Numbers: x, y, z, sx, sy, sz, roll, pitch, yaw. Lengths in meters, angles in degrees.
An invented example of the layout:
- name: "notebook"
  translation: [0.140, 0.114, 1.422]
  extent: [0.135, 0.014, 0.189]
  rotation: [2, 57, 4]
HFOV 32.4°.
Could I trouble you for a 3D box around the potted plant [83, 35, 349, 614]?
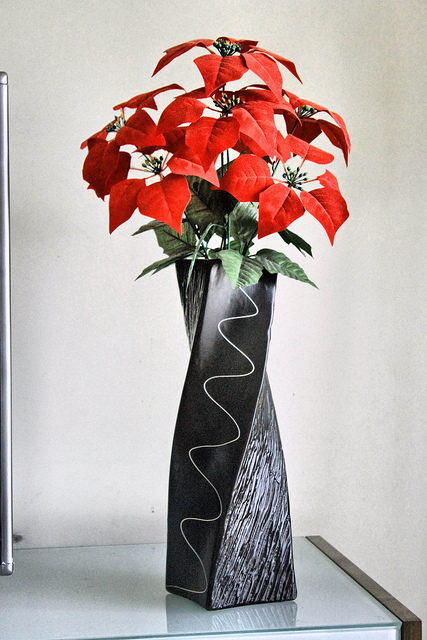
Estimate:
- name: "potted plant"
  translation: [0.023, 0.012, 1.209]
  extent: [0.380, 0.829, 0.500]
  rotation: [-1, 3, 3]
